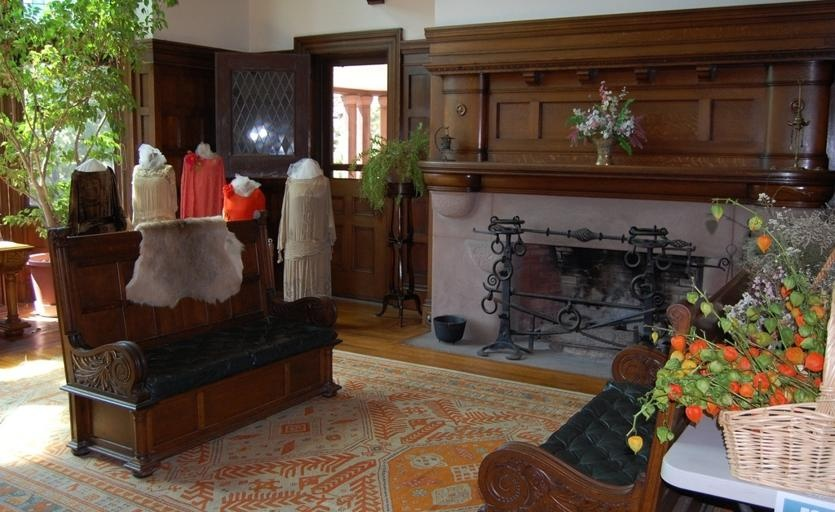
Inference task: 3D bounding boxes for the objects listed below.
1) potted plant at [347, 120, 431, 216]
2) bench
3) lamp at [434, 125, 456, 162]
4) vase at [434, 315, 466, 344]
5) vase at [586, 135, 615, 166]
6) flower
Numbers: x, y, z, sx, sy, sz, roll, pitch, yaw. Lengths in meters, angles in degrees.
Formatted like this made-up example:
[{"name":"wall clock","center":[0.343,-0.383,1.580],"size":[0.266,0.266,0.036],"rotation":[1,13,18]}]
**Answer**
[{"name":"potted plant","center":[-0.259,-1.100,6.596],"size":[0.793,0.976,0.808],"rotation":[2,13,8]},{"name":"bench","center":[-1.569,0.524,4.291],"size":[0.904,1.446,2.061],"rotation":[9,10,25]},{"name":"lamp","center":[0.306,-1.202,5.847],"size":[0.208,0.348,0.437],"rotation":[-1,13,-5]},{"name":"vase","center":[0.355,0.773,5.854],"size":[0.334,0.196,0.284],"rotation":[2,6,19]},{"name":"vase","center":[1.757,-0.994,5.215],"size":[0.302,0.313,0.282],"rotation":[-1,4,-3]},{"name":"flower","center":[1.795,-1.312,5.207],"size":[0.695,0.679,0.413],"rotation":[5,14,18]}]
